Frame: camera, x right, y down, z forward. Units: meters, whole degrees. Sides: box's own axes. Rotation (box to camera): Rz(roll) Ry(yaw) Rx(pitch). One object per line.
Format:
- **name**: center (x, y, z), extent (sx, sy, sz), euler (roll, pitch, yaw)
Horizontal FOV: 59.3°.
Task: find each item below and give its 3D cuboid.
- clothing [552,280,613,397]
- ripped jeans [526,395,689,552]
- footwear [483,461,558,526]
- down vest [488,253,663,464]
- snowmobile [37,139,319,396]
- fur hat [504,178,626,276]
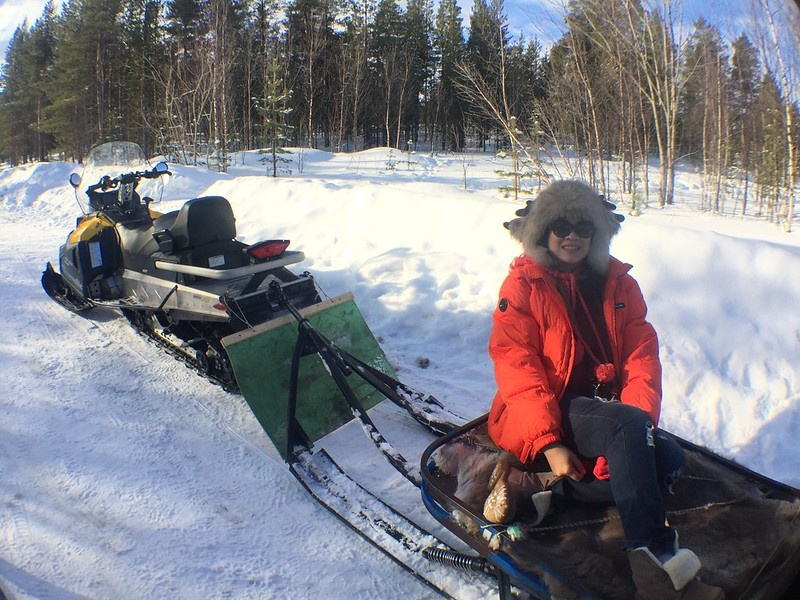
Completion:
- **clothing**: center (1.425, 0.336, 5.564), extent (0.445, 0.879, 0.206), euler (-5, -15, -9)
- **ripped jeans**: center (1.549, 1.202, 4.999), extent (0.344, 0.904, 0.851), euler (-4, 7, -33)
- **footwear**: center (0.834, 1.398, 5.041), extent (0.296, 0.236, 0.508), euler (28, 4, -33)
- **down vest**: center (1.162, 0.419, 5.774), extent (1.479, 2.057, 1.314), euler (1, -5, -11)
- **snowmobile**: center (-2.146, -0.293, 7.470), extent (3.947, 1.838, 1.562), euler (31, 34, 33)
- **fur hat**: center (1.336, -0.438, 5.714), extent (1.010, 0.874, 0.653), euler (0, -2, 4)
